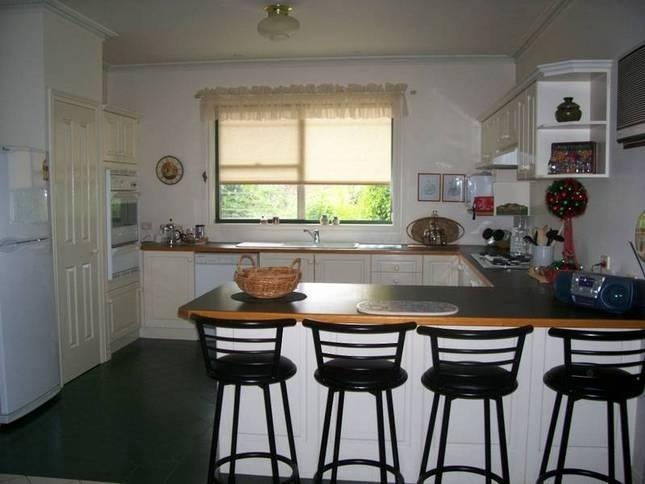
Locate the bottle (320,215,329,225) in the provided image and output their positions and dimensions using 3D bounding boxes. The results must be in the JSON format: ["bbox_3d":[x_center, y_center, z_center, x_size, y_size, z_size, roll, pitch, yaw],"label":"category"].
[{"bbox_3d":[0.025,-0.294,6.443,0.114,0.111,0.116,0,-4,20],"label":"bottle"}]

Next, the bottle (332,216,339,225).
[{"bbox_3d":[0.169,-0.289,6.439,0.087,0.095,0.087,1,1,-3],"label":"bottle"}]

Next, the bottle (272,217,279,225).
[{"bbox_3d":[-0.613,-0.294,6.580,0.085,0.159,0.085,1,1,0],"label":"bottle"}]

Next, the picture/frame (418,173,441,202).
[{"bbox_3d":[1.359,-0.715,6.274,0.361,0.441,0.029,0,-1,0],"label":"picture/frame"}]

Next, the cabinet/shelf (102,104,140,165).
[{"bbox_3d":[-2.336,-1.146,5.492,0.255,0.644,0.744,4,8,9],"label":"cabinet/shelf"}]

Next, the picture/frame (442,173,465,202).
[{"bbox_3d":[1.650,-0.713,6.257,0.352,0.418,0.030,0,1,-2],"label":"picture/frame"}]

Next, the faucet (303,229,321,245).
[{"bbox_3d":[-0.130,-0.073,6.357,0.205,0.181,0.282,-2,9,-2],"label":"faucet"}]

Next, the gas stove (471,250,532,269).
[{"bbox_3d":[1.808,0.173,4.973,0.526,0.048,0.745,0,9,7],"label":"gas stove"}]

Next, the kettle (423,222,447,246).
[{"bbox_3d":[1.379,-0.051,6.216,0.395,0.382,0.209,0,-2,-2],"label":"kettle"}]

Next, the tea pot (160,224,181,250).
[{"bbox_3d":[-2.001,-0.085,6.308,0.269,0.365,0.358,-2,4,-41],"label":"tea pot"}]

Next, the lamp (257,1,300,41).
[{"bbox_3d":[-0.420,-2.061,4.607,0.359,0.304,0.421,-2,9,-8],"label":"lamp"}]

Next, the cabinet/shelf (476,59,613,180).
[{"bbox_3d":[1.920,-1.031,4.517,0.508,0.889,1.777,-1,9,2],"label":"cabinet/shelf"}]

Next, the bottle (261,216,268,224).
[{"bbox_3d":[-0.773,-0.295,6.579,0.100,0.048,0.130,0,10,-3],"label":"bottle"}]

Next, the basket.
[{"bbox_3d":[-0.354,0.236,3.448,0.449,0.303,0.545,4,6,25],"label":"basket"}]
